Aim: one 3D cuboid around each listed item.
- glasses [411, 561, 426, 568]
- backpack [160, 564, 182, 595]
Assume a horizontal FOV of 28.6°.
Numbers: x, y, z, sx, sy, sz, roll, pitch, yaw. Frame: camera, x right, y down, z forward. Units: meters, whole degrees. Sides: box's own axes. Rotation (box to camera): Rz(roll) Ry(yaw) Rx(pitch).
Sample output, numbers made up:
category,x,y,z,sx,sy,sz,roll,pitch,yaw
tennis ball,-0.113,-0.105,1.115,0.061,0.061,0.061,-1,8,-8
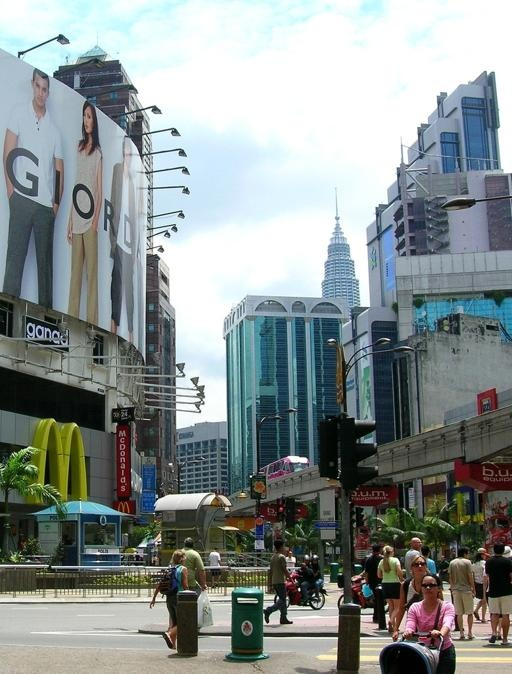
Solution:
category,x,y,z,sx,sy,sz,roll,pitch,yaw
glasses,1.844,2.593,11.438,0.154,0.073,0.214,-3,-10,6
backpack,-1.252,3.554,14.638,0.299,0.413,0.519,0,-10,-6
